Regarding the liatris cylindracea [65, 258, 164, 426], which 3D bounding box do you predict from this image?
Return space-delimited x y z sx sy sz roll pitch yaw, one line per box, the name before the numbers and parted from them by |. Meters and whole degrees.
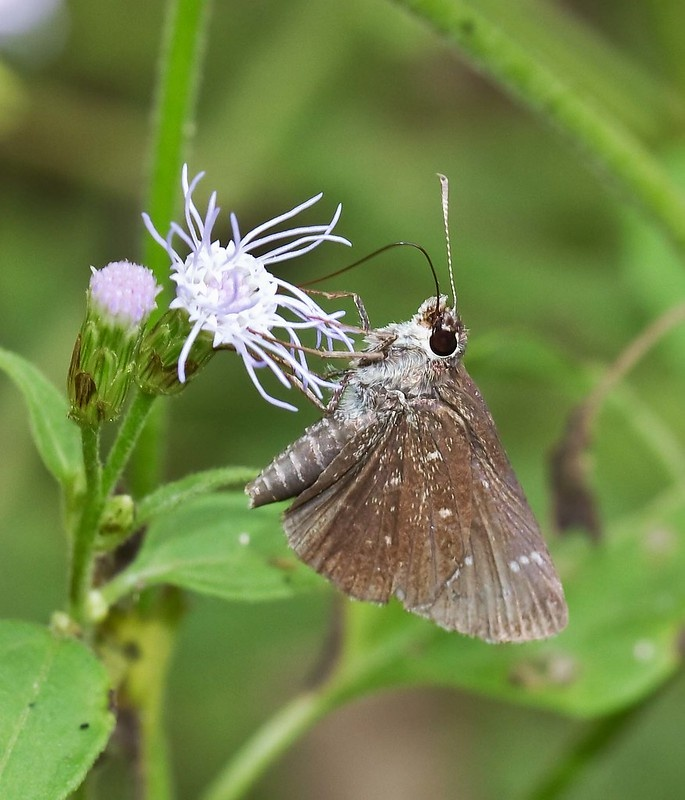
liatris cylindracea | -0.403 -0.099 1.436 0.153 0.276 0.064 -4 -16 -2
